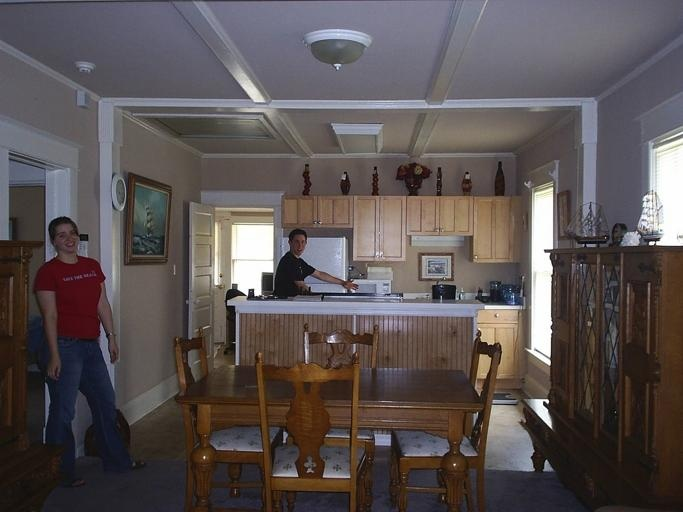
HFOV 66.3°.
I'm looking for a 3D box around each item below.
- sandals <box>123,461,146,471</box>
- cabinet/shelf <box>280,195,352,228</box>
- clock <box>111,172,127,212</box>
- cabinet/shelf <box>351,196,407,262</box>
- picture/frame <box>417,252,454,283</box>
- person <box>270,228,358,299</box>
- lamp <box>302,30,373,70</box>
[{"bbox_3d":[-1.668,1.688,4.233,0.052,0.031,0.107,2,-1,30],"label":"sandals"},{"bbox_3d":[-0.321,-0.579,6.867,0.933,0.404,0.146,0,0,13],"label":"cabinet/shelf"},{"bbox_3d":[-2.117,-0.597,4.955,0.060,0.349,0.219,0,0,-3],"label":"clock"},{"bbox_3d":[0.491,-0.372,6.830,0.753,0.972,0.456,1,-1,-1],"label":"cabinet/shelf"},{"bbox_3d":[1.296,0.150,7.151,0.375,0.337,0.030,1,-3,0],"label":"picture/frame"},{"bbox_3d":[-0.339,0.396,5.858,0.882,1.397,0.782,-2,5,-8],"label":"person"},{"bbox_3d":[-0.024,-1.405,3.594,0.468,0.237,0.145,0,0,-5],"label":"lamp"}]
